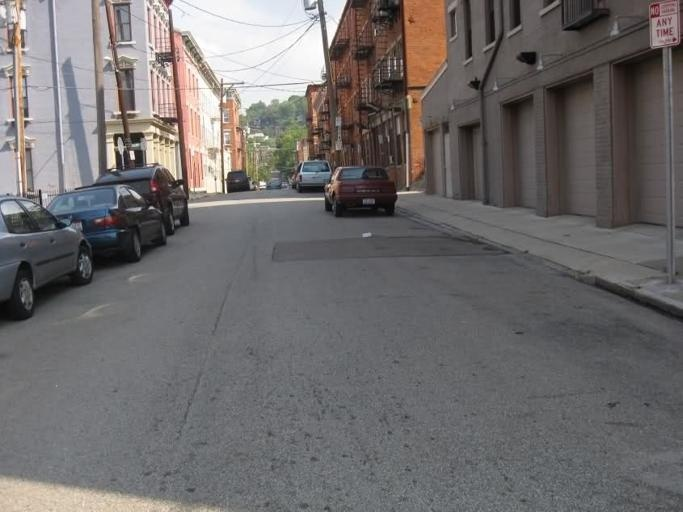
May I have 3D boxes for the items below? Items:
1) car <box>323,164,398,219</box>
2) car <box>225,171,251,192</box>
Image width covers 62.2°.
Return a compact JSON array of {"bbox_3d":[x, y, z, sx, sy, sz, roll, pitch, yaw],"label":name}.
[{"bbox_3d":[0.709,-2.332,20.309,2.193,1.745,2.122,-3,9,-7],"label":"car"},{"bbox_3d":[-9.566,-6.816,51.756,1.888,1.933,1.051,-5,8,-19],"label":"car"}]
